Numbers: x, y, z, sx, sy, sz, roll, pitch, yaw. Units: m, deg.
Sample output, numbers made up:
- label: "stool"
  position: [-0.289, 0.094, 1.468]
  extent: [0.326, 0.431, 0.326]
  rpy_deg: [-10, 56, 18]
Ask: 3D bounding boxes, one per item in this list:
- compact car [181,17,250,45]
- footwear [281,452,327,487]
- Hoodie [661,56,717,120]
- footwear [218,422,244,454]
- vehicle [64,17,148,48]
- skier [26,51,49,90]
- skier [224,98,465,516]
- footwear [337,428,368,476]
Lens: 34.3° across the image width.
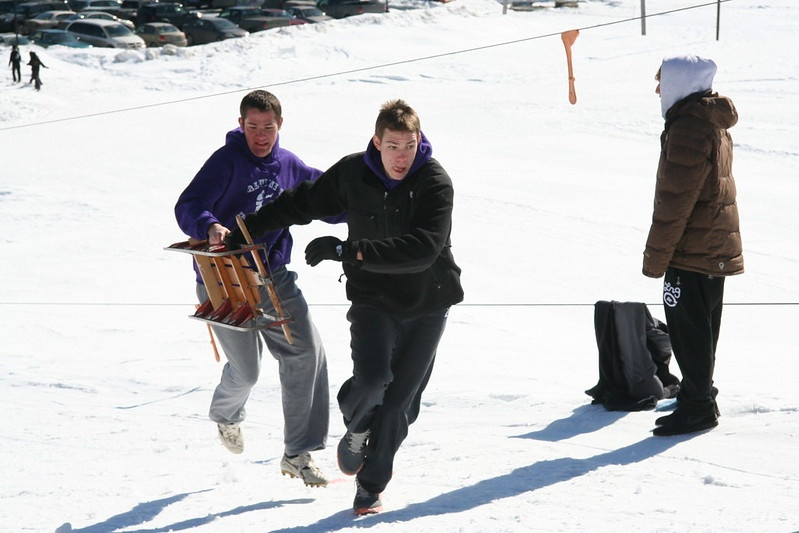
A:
- label: "compact car"
  position: [-4.380, -5.543, 30.588]
  extent: [1.673, 0.467, 0.703]
  rpy_deg: [5, 21, 29]
- label: "footwear"
  position: [-1.070, 2.329, 14.976]
  extent: [0.749, 0.296, 0.276]
  rpy_deg: [15, 13, 43]
- label: "Hoodie"
  position: [3.399, -2.218, 15.551]
  extent: [0.858, 0.649, 0.560]
  rpy_deg: [0, 7, 10]
- label: "footwear"
  position: [-1.973, 2.017, 15.277]
  extent: [0.257, 0.389, 0.171]
  rpy_deg: [-20, 13, 4]
- label: "vehicle"
  position: [-6.632, -5.192, 29.075]
  extent: [1.780, 0.584, 0.748]
  rpy_deg: [5, 37, 9]
- label: "skier"
  position: [-7.354, -3.905, 26.082]
  extent: [0.349, 0.788, 0.793]
  rpy_deg: [-19, 58, -24]
- label: "skier"
  position: [-0.274, 0.430, 14.640]
  extent: [1.965, 4.557, 1.078]
  rpy_deg: [1, 12, 4]
- label: "footwear"
  position: [-0.533, 2.112, 14.666]
  extent: [0.271, 0.238, 0.614]
  rpy_deg: [-36, 29, 29]
